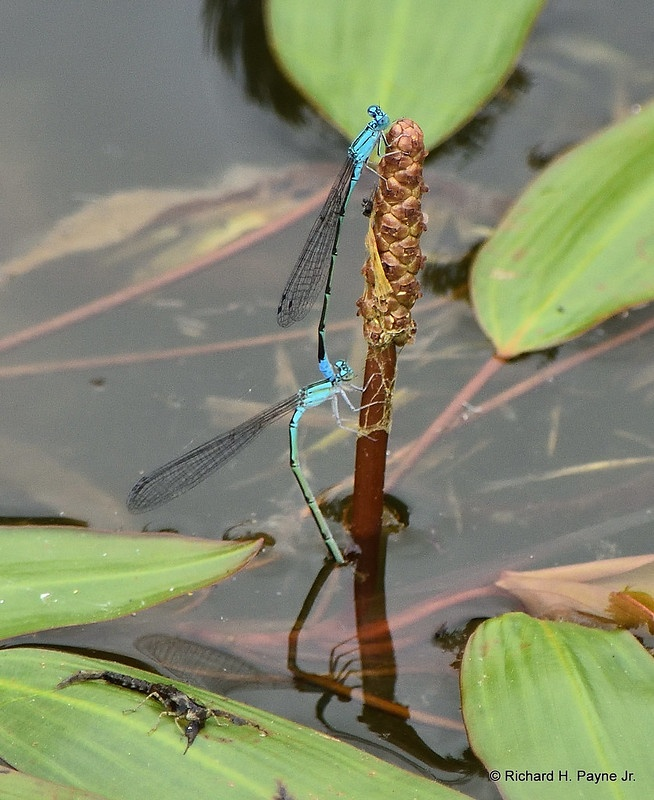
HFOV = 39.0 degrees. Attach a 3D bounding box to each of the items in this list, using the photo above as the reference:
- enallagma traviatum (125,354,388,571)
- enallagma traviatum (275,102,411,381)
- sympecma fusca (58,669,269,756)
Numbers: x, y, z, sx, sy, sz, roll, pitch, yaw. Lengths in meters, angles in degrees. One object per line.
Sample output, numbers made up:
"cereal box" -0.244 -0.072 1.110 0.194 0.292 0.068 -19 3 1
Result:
"enallagma traviatum" -0.250 0.122 2.853 0.555 0.727 0.788 16 35 29
"enallagma traviatum" 0.037 -0.522 2.973 0.375 0.305 0.918 27 91 51
"sympecma fusca" -0.393 0.714 2.240 0.332 0.221 0.062 15 97 32
